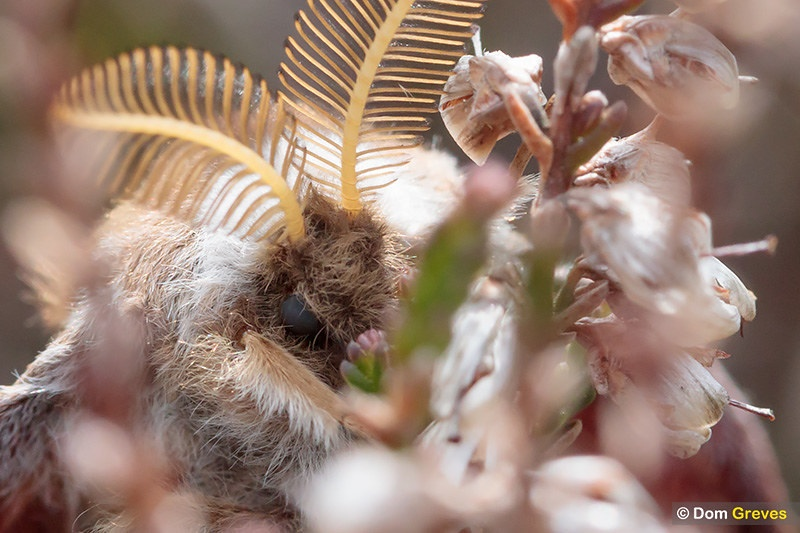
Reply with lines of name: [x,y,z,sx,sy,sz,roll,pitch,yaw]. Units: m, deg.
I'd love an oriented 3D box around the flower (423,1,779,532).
flower: [0.174,-0.006,0.803,0.309,0.385,0.204,6,10,2]
